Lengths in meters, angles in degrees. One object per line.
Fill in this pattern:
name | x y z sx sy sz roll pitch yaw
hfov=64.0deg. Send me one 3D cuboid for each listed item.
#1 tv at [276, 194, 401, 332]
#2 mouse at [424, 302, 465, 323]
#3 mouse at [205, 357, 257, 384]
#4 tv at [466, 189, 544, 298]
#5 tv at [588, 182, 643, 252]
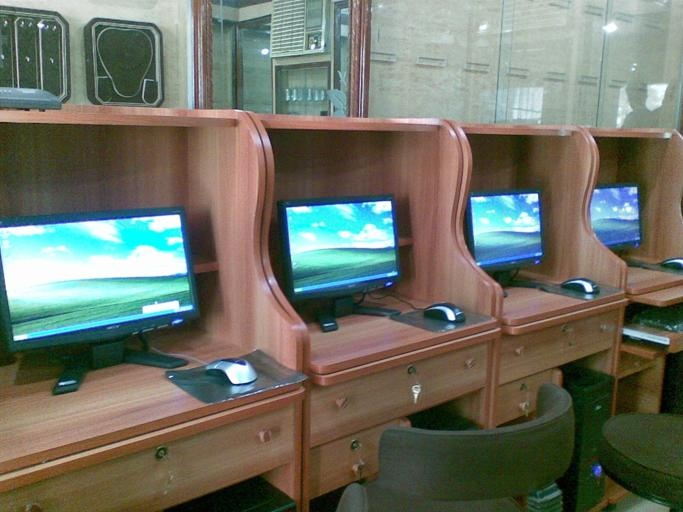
tv | -0.026 0.021 2.053 0.518 0.412 0.209 -9 15 -33
mouse | 0.382 0.215 2.051 0.066 0.040 0.125 -6 11 -43
mouse | -0.309 0.324 1.576 0.147 0.054 0.097 10 20 39
tv | 0.737 -0.068 2.499 0.549 0.454 0.091 -7 4 -33
tv | 1.574 -0.228 3.118 0.588 0.377 0.059 -5 8 -37
